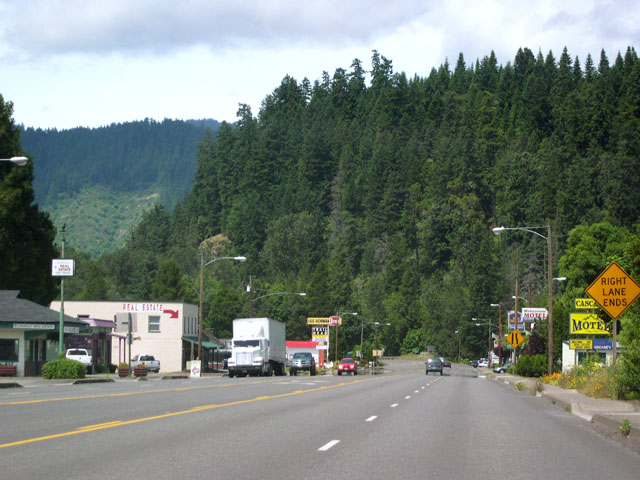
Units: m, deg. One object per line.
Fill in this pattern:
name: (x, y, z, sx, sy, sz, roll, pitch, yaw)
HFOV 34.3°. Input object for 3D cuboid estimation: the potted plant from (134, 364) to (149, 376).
potted plant: (-13.973, 10.266, 80.656, 0.925, 0.782, 1.406, 4, -10, -15)

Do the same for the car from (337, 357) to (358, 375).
car: (2.751, 12.835, 105.514, 1.834, 1.832, 3.972, 0, -10, 6)

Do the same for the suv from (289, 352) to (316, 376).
suv: (-1.659, 11.783, 99.019, 2.445, 2.206, 3.008, -2, -9, 20)
